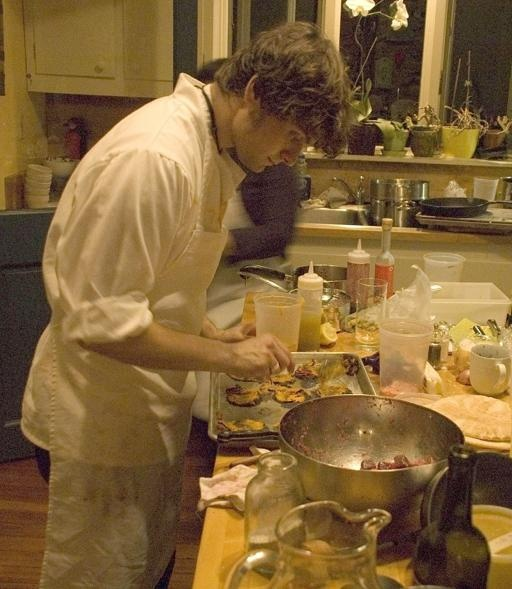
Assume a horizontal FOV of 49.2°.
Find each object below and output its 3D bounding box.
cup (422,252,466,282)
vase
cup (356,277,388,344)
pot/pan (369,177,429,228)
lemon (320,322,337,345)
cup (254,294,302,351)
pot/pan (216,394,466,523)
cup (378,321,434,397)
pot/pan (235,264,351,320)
[{"bbox_3d":[0.658,-0.089,1.955,0.124,0.086,0.122,0,14,0],"label":"cup"},{"bbox_3d":[1.127,-1.012,3.666,1.030,0.260,0.326,0,14,4],"label":"vase"},{"bbox_3d":[0.329,0.061,1.591,0.080,0.158,0.155,2,14,10],"label":"cup"},{"bbox_3d":[0.829,-0.521,3.228,0.337,0.268,0.530,2,14,11],"label":"pot/pan"},{"bbox_3d":[0.195,0.122,1.629,0.065,0.057,0.040,16,-40,-33],"label":"lemon"},{"bbox_3d":[0.060,0.070,1.487,0.153,0.140,0.140,1,18,0],"label":"cup"},{"bbox_3d":[0.174,0.244,0.866,0.222,0.086,0.200,2,11,6],"label":"pot/pan"},{"bbox_3d":[0.326,0.145,1.226,0.111,0.152,0.123,3,15,15],"label":"cup"},{"bbox_3d":[0.122,-0.013,1.817,0.370,0.153,0.172,-2,14,-4],"label":"pot/pan"}]
